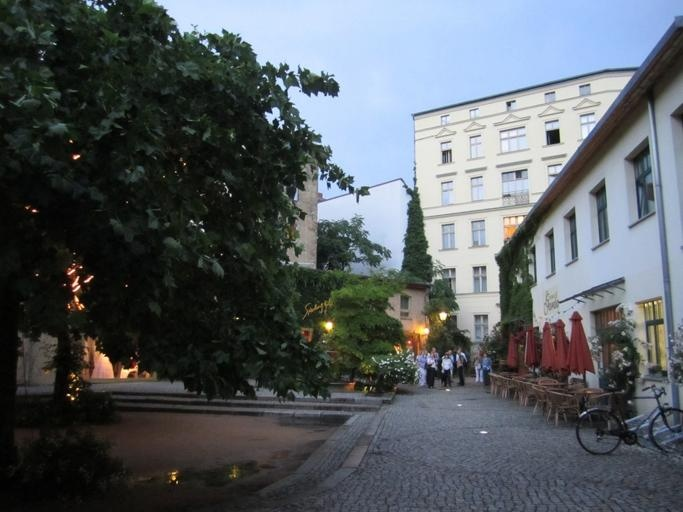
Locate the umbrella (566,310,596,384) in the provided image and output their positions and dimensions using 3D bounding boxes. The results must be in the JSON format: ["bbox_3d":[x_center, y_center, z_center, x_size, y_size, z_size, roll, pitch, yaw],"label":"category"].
[{"bbox_3d":[6.202,2.224,15.358,0.594,1.594,0.652,-3,-14,22],"label":"umbrella"}]
